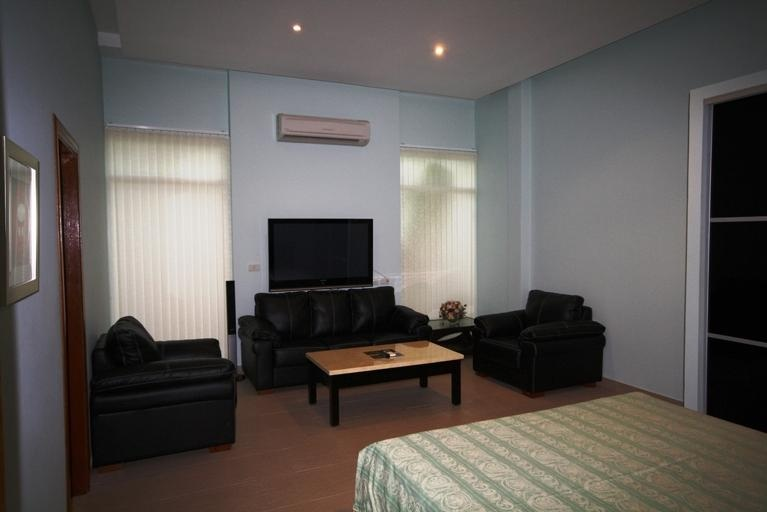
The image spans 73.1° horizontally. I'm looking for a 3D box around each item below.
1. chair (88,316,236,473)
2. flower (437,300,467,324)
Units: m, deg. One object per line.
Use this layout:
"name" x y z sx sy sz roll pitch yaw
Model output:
"chair" -2.041 1.141 4.832 1.064 1.065 1.491 -1 2 -23
"flower" 0.959 0.775 7.175 0.330 0.241 0.329 1 0 9
